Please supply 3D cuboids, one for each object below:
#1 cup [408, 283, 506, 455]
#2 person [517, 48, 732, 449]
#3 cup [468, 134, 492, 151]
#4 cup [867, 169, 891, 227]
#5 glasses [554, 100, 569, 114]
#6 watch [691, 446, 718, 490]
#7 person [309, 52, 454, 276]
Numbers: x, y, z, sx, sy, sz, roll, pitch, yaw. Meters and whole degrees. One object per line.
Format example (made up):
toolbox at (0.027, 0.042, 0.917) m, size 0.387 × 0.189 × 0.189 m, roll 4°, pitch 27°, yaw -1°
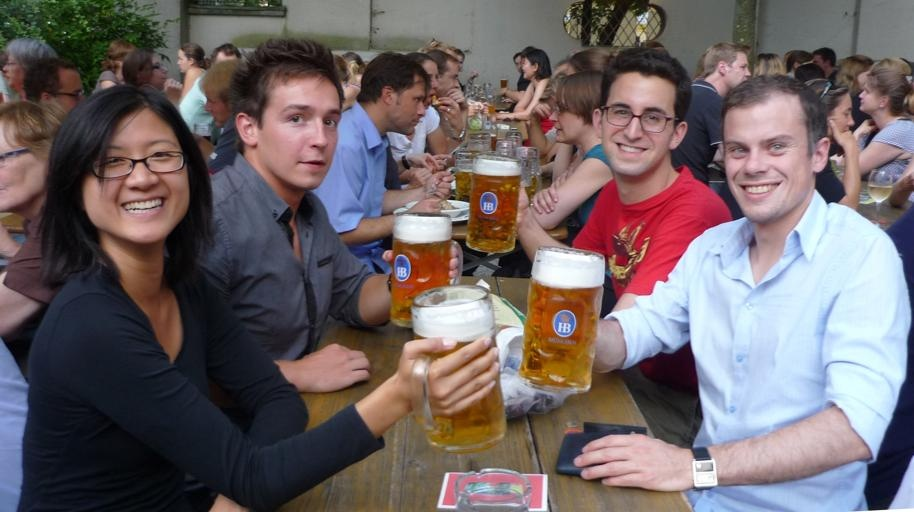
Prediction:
cup at (0.003, 0.301, 1.707) m, size 0.236 × 0.419 × 0.230 m, roll -1°, pitch 16°, yaw 0°
person at (0.723, -0.072, 2.839) m, size 1.099 × 1.509 × 0.929 m, roll -2°, pitch 13°, yaw -7°
cup at (0.164, -0.809, 4.482) m, size 0.192 × 0.097 × 0.098 m, roll 3°, pitch -9°, yaw 5°
cup at (2.625, -0.361, 3.881) m, size 0.094 × 0.184 × 0.087 m, roll 4°, pitch 1°, yaw 0°
glasses at (0.640, -0.909, 3.816) m, size 0.031 × 0.077 × 0.082 m, roll -23°, pitch 17°, yaw -21°
watch at (0.728, 0.632, 1.867) m, size 0.087 × 0.104 × 0.091 m, roll -2°, pitch 16°, yaw -6°
person at (-0.481, -0.350, 4.121) m, size 1.073 × 1.784 × 0.876 m, roll 2°, pitch 28°, yaw 2°
